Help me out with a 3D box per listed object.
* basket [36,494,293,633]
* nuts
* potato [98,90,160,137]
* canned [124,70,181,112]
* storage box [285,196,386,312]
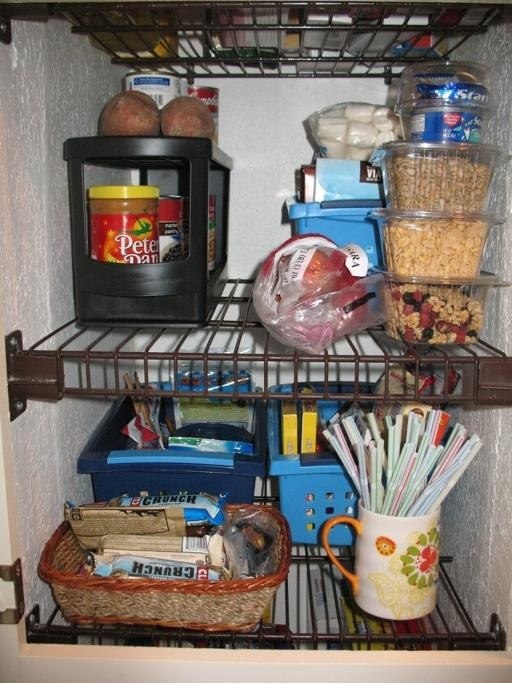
[{"bbox_3d":[-0.080,0.233,0.782,0.327,0.126,0.294,0,14,8],"label":"basket"},{"bbox_3d":[0.211,-0.119,0.692,0.097,0.245,0.104,0,11,-4],"label":"nuts"},{"bbox_3d":[-0.158,-0.291,0.744,0.096,0.077,0.108,-1,20,0],"label":"potato"},{"bbox_3d":[-0.153,-0.393,0.888,0.095,0.063,0.097,0,18,4],"label":"canned"},{"bbox_3d":[0.121,-0.141,0.842,0.145,0.092,0.104,-3,21,-1],"label":"storage box"}]
